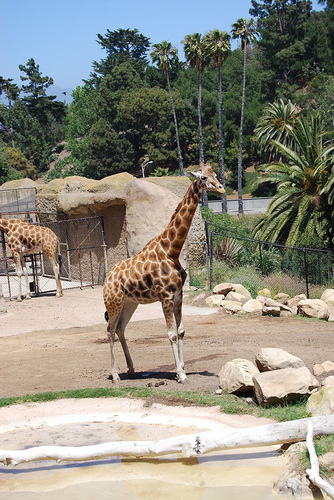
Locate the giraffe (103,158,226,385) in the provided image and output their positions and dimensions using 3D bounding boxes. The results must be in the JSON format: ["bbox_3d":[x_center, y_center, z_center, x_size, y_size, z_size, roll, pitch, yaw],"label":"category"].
[{"bbox_3d":[-0.103,0.322,9.722,1.765,2.884,0.650,-2,6,30],"label":"giraffe"}]

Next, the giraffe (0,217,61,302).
[{"bbox_3d":[-3.946,0.164,21.261,1.544,2.380,4.053,-6,5,-10],"label":"giraffe"}]
